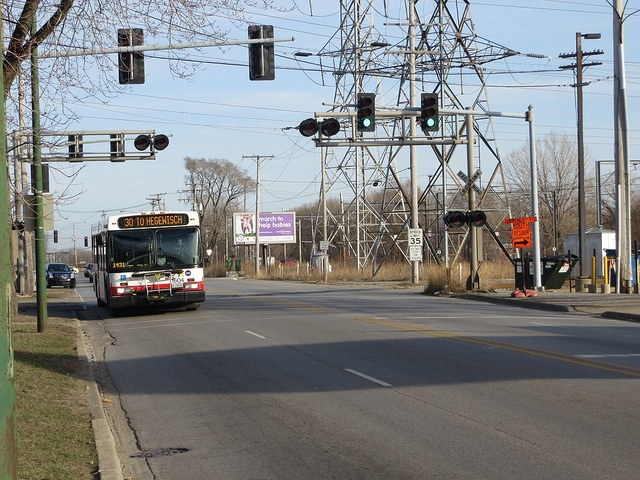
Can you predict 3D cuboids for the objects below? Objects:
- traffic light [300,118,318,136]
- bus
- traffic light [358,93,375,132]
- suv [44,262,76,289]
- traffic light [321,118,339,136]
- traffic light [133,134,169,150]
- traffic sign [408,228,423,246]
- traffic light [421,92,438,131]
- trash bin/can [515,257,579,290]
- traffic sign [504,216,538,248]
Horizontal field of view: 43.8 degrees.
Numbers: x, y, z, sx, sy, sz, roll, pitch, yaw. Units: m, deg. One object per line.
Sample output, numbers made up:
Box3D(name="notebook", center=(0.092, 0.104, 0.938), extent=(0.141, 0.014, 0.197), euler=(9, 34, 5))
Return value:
Box3D(name="traffic light", center=(-0.349, -3.864, 27.720), extent=(0.677, 0.707, 1.026), euler=(0, -1, 0))
Box3D(name="bus", center=(-6.109, 0.861, 28.462), extent=(3.229, 3.411, 7.880), euler=(-1, -4, -13))
Box3D(name="traffic light", center=(1.547, -4.185, 26.520), extent=(0.543, 1.360, 0.723), euler=(0, -1, 2))
Box3D(name="suv", center=(-17.644, 2.487, 54.494), extent=(1.732, 1.396, 3.378), euler=(1, -7, -20))
Box3D(name="traffic light", center=(0.409, -3.888, 27.692), extent=(0.560, 0.641, 0.783), euler=(0, -1, -26))
Box3D(name="traffic light", center=(-7.017, -4.075, 33.424), extent=(1.280, 0.672, 0.837), euler=(-1, -1, 34))
Box3D(name="traffic sign", center=(4.819, -0.116, 39.931), extent=(0.684, 0.852, 0.651), euler=(0, -1, 2))
Box3D(name="traffic light", center=(3.653, -4.249, 26.467), extent=(0.540, 1.265, 0.994), euler=(0, -1, 7))
Box3D(name="trash bin/can", center=(9.651, 1.384, 34.107), extent=(2.085, 1.539, 1.752), euler=(-1, -3, 23))
Box3D(name="traffic sign", center=(7.948, -0.291, 31.332), extent=(0.994, 1.210, 1.477), euler=(0, -1, 14))
